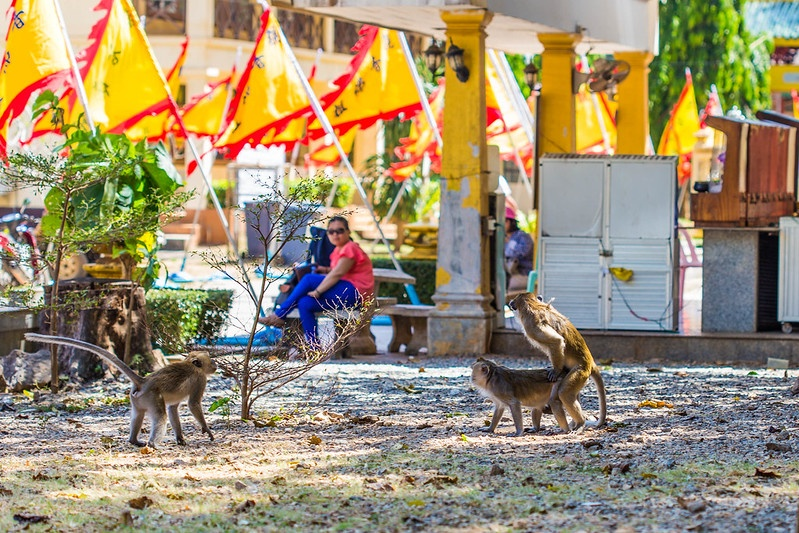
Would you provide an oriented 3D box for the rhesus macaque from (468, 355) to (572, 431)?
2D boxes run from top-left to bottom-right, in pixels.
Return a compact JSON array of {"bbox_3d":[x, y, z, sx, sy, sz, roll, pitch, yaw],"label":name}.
[{"bbox_3d":[1.569,1.601,20.309,1.416,1.001,0.575,0,2,-7],"label":"rhesus macaque"}]

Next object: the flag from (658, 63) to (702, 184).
[{"bbox_3d":[5.962,-3.076,35.107,0.876,2.685,0.238,-4,-28,21],"label":"flag"}]

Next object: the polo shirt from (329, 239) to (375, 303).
[{"bbox_3d":[-0.692,0.042,25.101,0.646,1.027,0.983,2,5,-4],"label":"polo shirt"}]

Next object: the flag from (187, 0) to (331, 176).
[{"bbox_3d":[-2.175,-3.259,28.542,2.921,3.152,0.229,-23,45,-37],"label":"flag"}]

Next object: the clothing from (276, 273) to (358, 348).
[{"bbox_3d":[-1.309,0.294,24.692,1.242,1.454,0.417,28,24,36],"label":"clothing"}]

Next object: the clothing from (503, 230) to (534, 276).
[{"bbox_3d":[1.956,-0.127,27.906,0.565,0.895,0.643,2,-12,3],"label":"clothing"}]

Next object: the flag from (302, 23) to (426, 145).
[{"bbox_3d":[-0.394,-3.564,29.693,2.449,2.710,0.094,-10,41,-25],"label":"flag"}]

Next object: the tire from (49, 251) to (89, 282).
[{"bbox_3d":[-5.103,0.004,25.688,0.418,0.437,0.101,37,8,21],"label":"tire"}]
